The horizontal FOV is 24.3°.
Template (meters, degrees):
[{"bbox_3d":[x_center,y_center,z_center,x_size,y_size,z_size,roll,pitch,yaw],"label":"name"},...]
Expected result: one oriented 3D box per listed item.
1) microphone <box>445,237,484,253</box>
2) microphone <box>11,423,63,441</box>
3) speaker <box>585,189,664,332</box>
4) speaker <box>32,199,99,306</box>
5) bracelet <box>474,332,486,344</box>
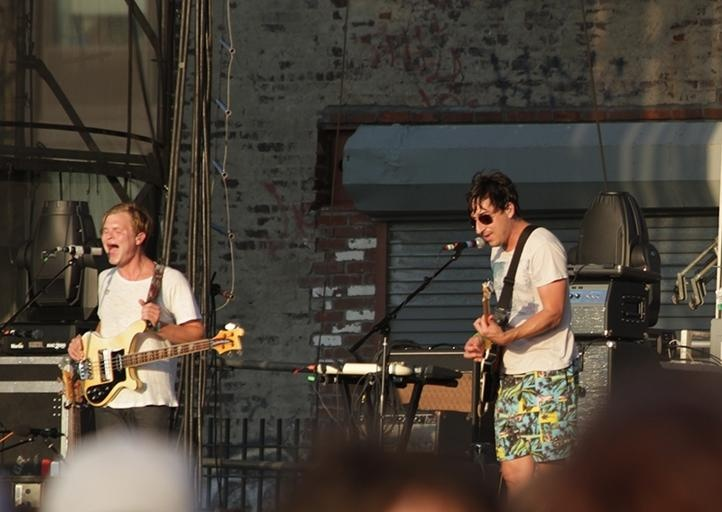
[{"bbox_3d":[0.935,-0.111,14.832,0.363,0.097,0.104,-10,10,-24],"label":"microphone"},{"bbox_3d":[-2.610,1.450,13.919,0.559,0.166,0.144,3,-1,0],"label":"microphone"},{"bbox_3d":[2.083,0.033,13.972,0.705,1.099,0.419,9,1,35],"label":"speaker"},{"bbox_3d":[-2.565,0.046,14.388,0.685,1.017,0.525,-1,-8,10],"label":"speaker"},{"bbox_3d":[0.938,0.609,12.659,0.080,0.083,0.149,-5,3,-14],"label":"bracelet"}]
